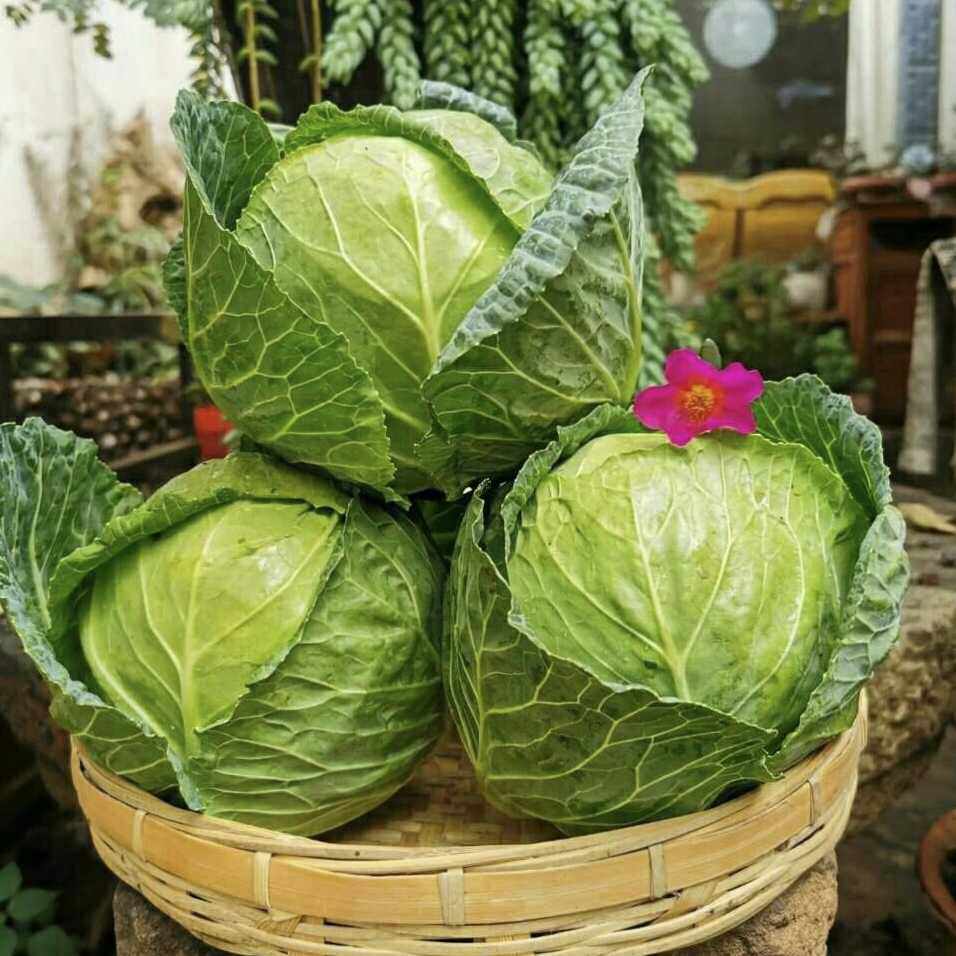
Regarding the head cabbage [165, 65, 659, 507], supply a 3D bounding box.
[{"bbox_3d":[-0.117,-0.218,1.516,0.551,0.484,0.635,4,-2,-20],"label":"head cabbage"}]
